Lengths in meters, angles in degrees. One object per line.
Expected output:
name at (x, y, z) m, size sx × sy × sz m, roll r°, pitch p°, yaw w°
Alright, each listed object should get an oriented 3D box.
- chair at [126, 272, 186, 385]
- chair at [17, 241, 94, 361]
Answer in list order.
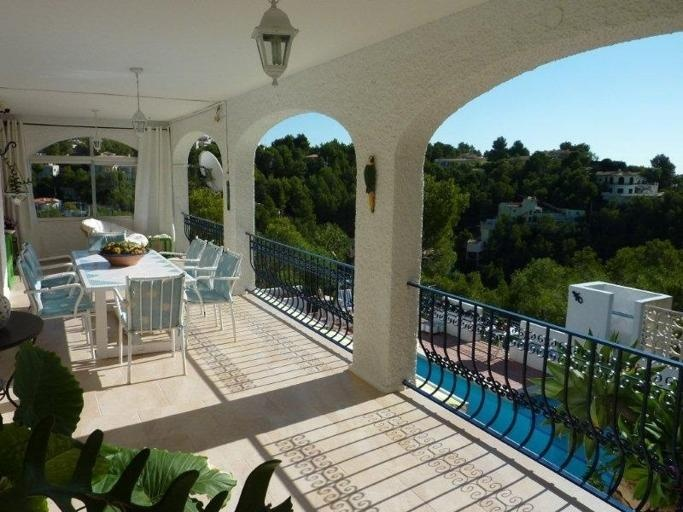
chair at (-1.729, 0.593, 4.516) m, size 0.593 × 1.044 × 0.695 m, roll 1°, pitch 14°, yaw -15°
chair at (-2.817, 0.434, 4.878) m, size 0.404 × 0.751 × 1.073 m, roll -6°, pitch 19°, yaw -24°
